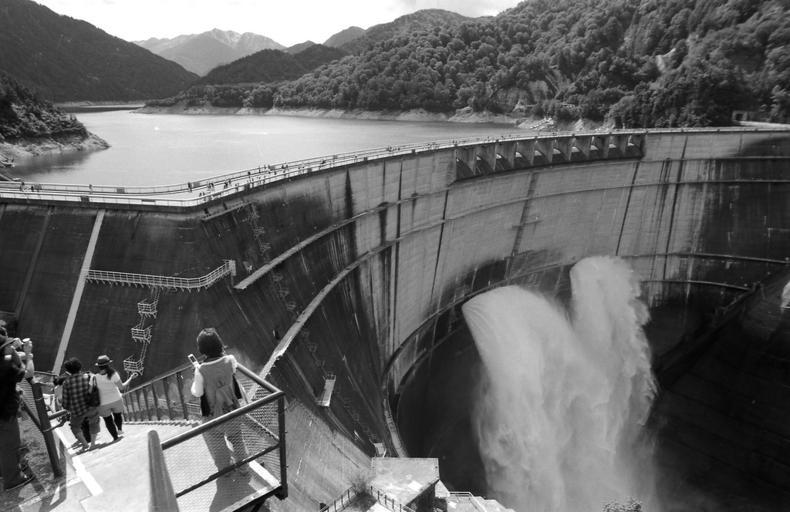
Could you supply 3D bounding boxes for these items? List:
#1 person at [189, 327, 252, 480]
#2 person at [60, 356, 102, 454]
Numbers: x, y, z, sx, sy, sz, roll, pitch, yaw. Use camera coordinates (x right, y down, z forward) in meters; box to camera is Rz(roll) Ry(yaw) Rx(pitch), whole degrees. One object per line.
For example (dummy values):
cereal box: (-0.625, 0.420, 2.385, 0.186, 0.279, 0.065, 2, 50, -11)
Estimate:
person: (-3.330, 2.751, 9.954, 0.878, 2.506, 1.415, -8, 11, -22)
person: (-7.021, 3.407, 11.752, 0.737, 1.779, 0.551, -7, 10, -21)
